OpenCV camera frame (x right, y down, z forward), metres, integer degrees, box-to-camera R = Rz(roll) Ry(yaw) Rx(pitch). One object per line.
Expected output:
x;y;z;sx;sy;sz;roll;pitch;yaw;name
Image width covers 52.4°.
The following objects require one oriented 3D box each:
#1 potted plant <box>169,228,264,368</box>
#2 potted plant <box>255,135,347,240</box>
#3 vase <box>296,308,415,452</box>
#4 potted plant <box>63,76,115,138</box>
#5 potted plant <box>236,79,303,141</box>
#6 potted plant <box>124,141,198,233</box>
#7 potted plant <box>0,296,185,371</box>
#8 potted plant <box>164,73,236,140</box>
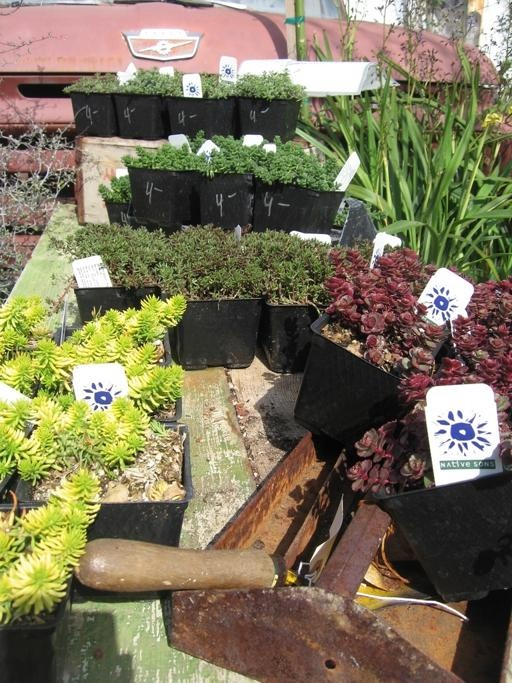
-0.190;-0.162;2.162;0.385;0.496;0.434;-1;28;-9;potted plant
0.172;-0.670;2.570;0.412;0.430;0.342;7;36;1;potted plant
0.240;0.084;1.425;0.316;0.220;0.268;42;33;18;vase
-0.970;-1.430;3.248;0.352;0.319;0.301;7;7;7;potted plant
0.074;-1.295;2.939;0.341;0.321;0.274;21;42;27;potted plant
-0.458;-0.738;2.572;0.319;0.288;0.291;15;17;35;potted plant
-0.443;-0.029;1.424;0.496;0.180;0.278;-2;28;-11;potted plant
-0.285;-1.324;2.957;0.360;0.317;0.269;19;32;27;potted plant
